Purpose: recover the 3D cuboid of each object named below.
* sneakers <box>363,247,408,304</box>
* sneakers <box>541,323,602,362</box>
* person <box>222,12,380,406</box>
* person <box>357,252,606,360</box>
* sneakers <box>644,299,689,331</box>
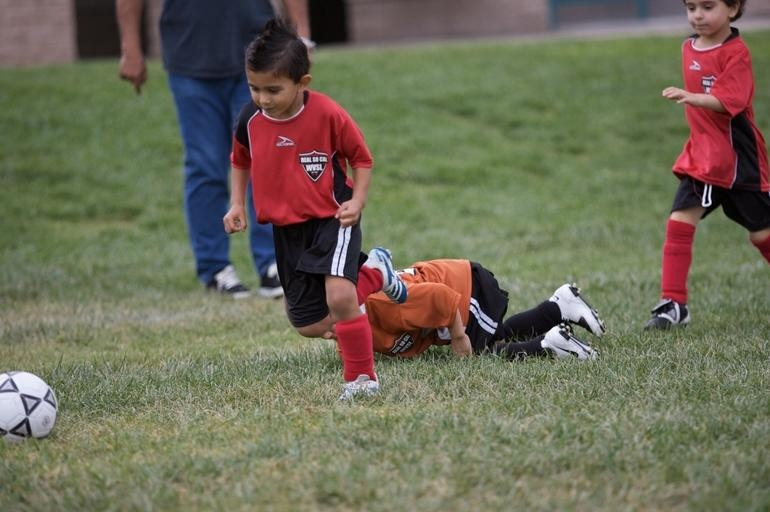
[{"bbox_3d":[0.023,0.088,5.538,0.186,0.424,0.150,-8,41,24],"label":"sneakers"},{"bbox_3d":[1.089,0.512,5.696,0.383,0.190,0.139,13,23,8],"label":"sneakers"},{"bbox_3d":[-0.493,-0.282,5.414,0.864,2.096,0.627,-3,12,0],"label":"person"},{"bbox_3d":[0.582,0.310,5.793,1.252,0.426,0.655,1,-1,-1],"label":"person"},{"bbox_3d":[1.796,0.380,6.089,0.338,0.151,0.143,-3,2,-42],"label":"sneakers"}]
